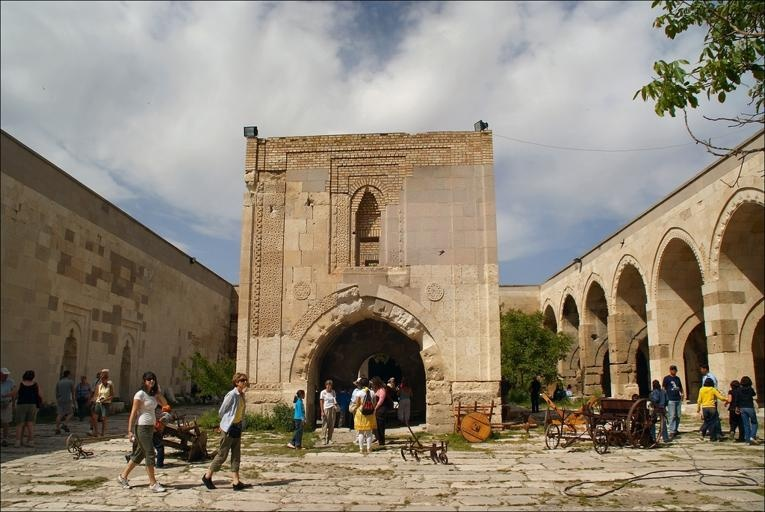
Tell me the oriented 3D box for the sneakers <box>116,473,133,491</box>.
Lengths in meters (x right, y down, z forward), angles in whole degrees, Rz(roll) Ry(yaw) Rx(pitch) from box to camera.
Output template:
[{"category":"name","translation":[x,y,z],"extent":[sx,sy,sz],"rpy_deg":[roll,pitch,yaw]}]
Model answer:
[{"category":"sneakers","translation":[-5.022,4.455,13.268],"extent":[0.189,0.412,0.152],"rpy_deg":[-33,-16,-11]}]

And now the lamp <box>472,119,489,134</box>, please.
[{"category":"lamp","translation":[2.947,-3.889,20.248],"extent":[0.319,0.387,1.025],"rpy_deg":[0,-1,5]}]

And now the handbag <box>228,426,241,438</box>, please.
[{"category":"handbag","translation":[-2.858,3.405,13.141],"extent":[0.117,0.145,0.212],"rpy_deg":[-26,1,35]}]

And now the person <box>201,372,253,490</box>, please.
[{"category":"person","translation":[-3.118,3.482,13.696],"extent":[0.771,2.245,1.289],"rpy_deg":[0,-1,-13]}]

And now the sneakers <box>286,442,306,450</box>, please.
[{"category":"sneakers","translation":[-2.183,4.764,16.958],"extent":[0.301,0.118,0.189],"rpy_deg":[-1,-8,24]}]

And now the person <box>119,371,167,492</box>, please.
[{"category":"person","translation":[-4.672,3.442,13.304],"extent":[0.805,2.214,0.904],"rpy_deg":[0,-1,-30]}]

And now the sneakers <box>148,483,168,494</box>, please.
[{"category":"sneakers","translation":[-4.294,4.494,13.120],"extent":[0.371,0.163,0.143],"rpy_deg":[6,-8,-1]}]

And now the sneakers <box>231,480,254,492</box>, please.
[{"category":"sneakers","translation":[-2.734,4.553,13.400],"extent":[0.461,0.175,0.152],"rpy_deg":[3,-3,-17]}]

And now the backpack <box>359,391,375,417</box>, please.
[{"category":"backpack","translation":[-0.393,3.620,16.551],"extent":[0.569,0.681,0.348],"rpy_deg":[2,-19,-3]}]
